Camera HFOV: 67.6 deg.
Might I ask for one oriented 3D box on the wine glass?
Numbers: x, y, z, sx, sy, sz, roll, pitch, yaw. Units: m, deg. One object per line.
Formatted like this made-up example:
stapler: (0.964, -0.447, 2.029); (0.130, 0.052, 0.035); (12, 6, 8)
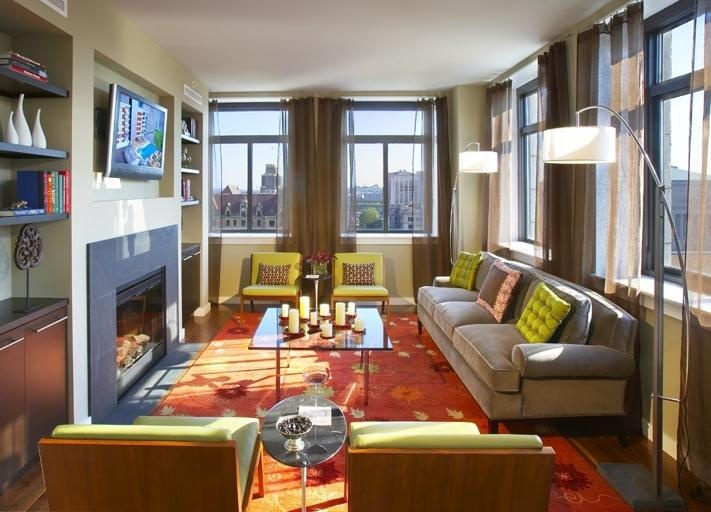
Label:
wine glass: (-0.322, 0.995, 3.380); (0.291, 0.372, 0.400); (2, -2, 19)

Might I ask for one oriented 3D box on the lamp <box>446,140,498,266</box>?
lamp: (1.474, -0.581, 6.782); (0.557, 1.707, 1.539); (1, 10, 10)

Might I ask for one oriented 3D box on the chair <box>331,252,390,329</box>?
chair: (0.056, 0.426, 7.232); (0.728, 0.924, 0.820); (1, 1, 2)

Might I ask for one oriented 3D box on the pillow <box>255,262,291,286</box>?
pillow: (-1.120, 0.269, 7.203); (0.396, 0.278, 0.117); (0, -11, -6)

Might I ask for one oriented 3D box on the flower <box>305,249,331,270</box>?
flower: (-0.518, 0.083, 7.304); (0.359, 0.315, 0.477); (-2, 11, -5)

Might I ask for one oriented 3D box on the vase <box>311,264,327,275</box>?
vase: (-0.500, 0.199, 7.176); (0.144, 0.170, 0.145); (2, -1, -41)

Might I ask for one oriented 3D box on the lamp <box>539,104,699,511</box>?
lamp: (1.929, 0.221, 4.044); (1.030, 2.713, 1.464); (0, 10, 1)

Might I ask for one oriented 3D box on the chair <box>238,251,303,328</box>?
chair: (-1.102, 0.447, 7.218); (0.778, 1.000, 0.829); (0, 1, 0)
